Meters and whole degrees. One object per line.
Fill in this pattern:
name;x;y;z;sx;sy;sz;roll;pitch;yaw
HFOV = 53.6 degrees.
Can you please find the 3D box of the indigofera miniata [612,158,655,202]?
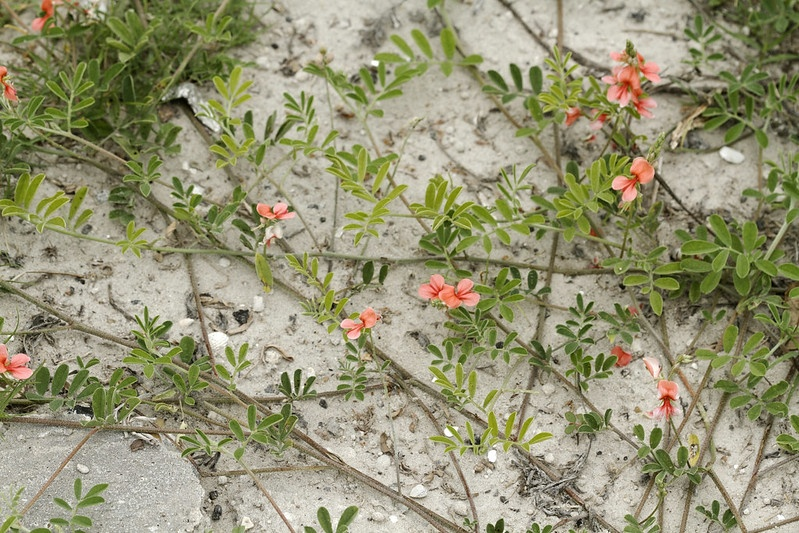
indigofera miniata;0.996;-0.357;3.348;0.137;0.204;0.060;49;24;17
